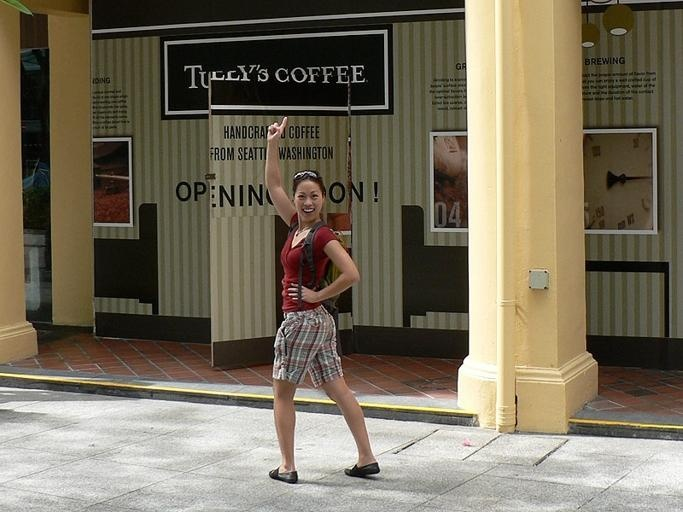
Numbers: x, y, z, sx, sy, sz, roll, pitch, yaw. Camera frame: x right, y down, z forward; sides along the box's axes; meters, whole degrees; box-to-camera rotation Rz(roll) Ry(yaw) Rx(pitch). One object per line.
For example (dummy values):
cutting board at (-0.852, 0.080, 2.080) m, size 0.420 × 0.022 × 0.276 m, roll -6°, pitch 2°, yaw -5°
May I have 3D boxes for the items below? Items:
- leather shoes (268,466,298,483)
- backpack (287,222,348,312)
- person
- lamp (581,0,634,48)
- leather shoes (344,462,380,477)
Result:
leather shoes at (-0.393, 1.452, 4.799) m, size 0.078 × 0.079 × 0.199 m, roll -1°, pitch 4°, yaw -44°
backpack at (-0.220, 0.021, 5.061) m, size 0.427 × 0.871 × 0.711 m, roll -1°, pitch 2°, yaw -10°
person at (-0.175, 0.309, 4.814) m, size 0.805 × 2.448 × 0.559 m, roll 0°, pitch 5°, yaw 14°
lamp at (2.898, -2.571, 7.805) m, size 0.527 × 0.497 × 0.406 m, roll 1°, pitch 6°, yaw 24°
leather shoes at (0.138, 1.450, 4.885) m, size 0.239 × 0.089 × 0.097 m, roll -3°, pitch -7°, yaw 31°
